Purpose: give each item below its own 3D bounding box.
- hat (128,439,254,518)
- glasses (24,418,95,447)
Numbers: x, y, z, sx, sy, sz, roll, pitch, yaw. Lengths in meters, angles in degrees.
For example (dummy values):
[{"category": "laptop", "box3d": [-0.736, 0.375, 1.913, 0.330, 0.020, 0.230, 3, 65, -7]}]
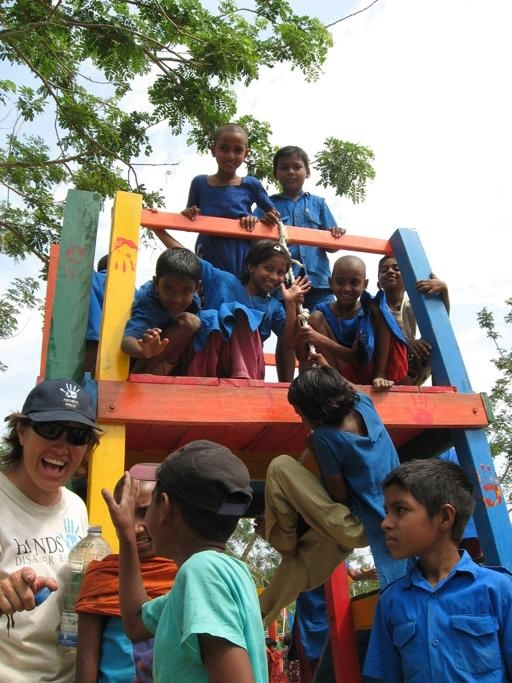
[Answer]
[{"category": "hat", "box3d": [-0.181, 0.379, 1.897, 0.295, 0.135, 0.182, 23, 5, 33]}, {"category": "glasses", "box3d": [-0.776, 0.379, 2.681, 0.298, 0.096, 0.139, 7, -9, -33]}]
